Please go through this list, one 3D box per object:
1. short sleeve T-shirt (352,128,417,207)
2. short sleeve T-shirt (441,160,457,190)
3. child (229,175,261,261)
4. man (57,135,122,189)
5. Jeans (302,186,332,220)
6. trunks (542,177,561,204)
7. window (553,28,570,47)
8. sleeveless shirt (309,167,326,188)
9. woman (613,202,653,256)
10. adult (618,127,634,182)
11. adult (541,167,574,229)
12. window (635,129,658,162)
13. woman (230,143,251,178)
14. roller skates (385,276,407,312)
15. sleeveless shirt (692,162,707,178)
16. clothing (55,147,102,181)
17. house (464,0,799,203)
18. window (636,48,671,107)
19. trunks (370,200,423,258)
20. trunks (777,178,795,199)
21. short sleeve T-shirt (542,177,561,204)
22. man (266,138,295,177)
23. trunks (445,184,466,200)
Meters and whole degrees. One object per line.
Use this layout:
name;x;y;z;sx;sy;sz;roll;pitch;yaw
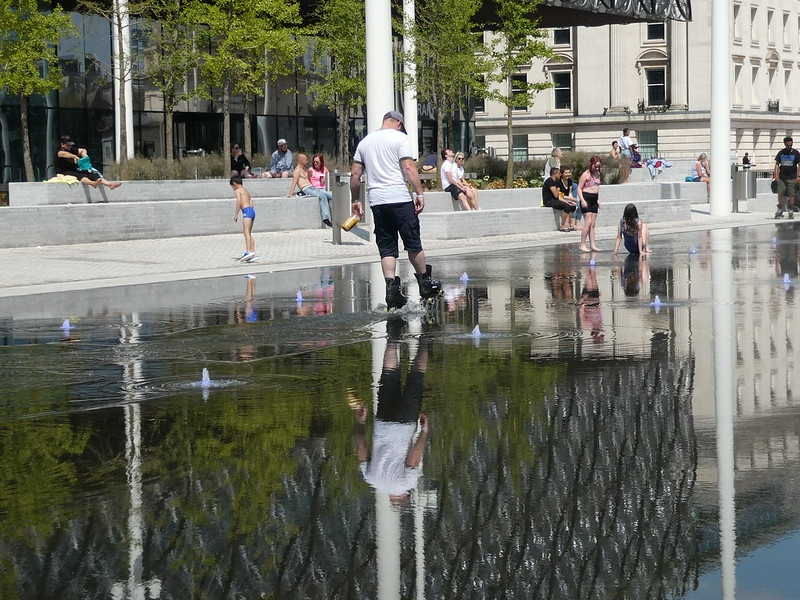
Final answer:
short sleeve T-shirt;-0.199;-1.456;13.904;0.704;0.886;0.445;-4;-11;6
short sleeve T-shirt;1.107;-2.766;27.224;0.301;0.629;0.587;-7;15;-27
child;-2.603;-1.411;20.895;0.416;1.399;2.007;-1;7;-7
man;-6.600;-2.934;26.197;1.595;0.933;0.760;7;8;-23
Jeans;-1.854;-2.235;28.396;0.367;0.787;0.687;-6;8;-41
trunks;3.465;-2.471;27.874;0.285;0.531;0.499;-8;15;-26
window;10.198;-16.393;77.066;1.359;1.448;0.200;4;11;17
sleeveless shirt;-1.916;-2.857;28.749;0.464;0.489;0.274;-3;2;-36
woman;4.053;-1.231;21.191;0.523;0.898;0.635;1;6;34
adult;8.783;-5.723;47.733;0.605;1.772;0.523;12;21;43
adult;3.732;-2.288;28.071;0.784;1.548;0.520;0;-6;44
window;14.865;-9.415;73.678;0.784;1.427;1.667;-4;8;-30
woman;-4.276;-3.720;33.099;0.468;0.864;2.708;-1;7;-8
roller skates;-0.033;-0.090;13.714;0.303;0.333;0.247;-6;8;-39
sleeveless shirt;10.241;-4.418;41.955;0.487;0.598;0.568;-4;17;-11
clothing;-6.802;-2.875;26.102;0.866;0.706;1.420;-2;7;-15
house;10.911;-9.595;58.163;14.322;10.857;7.962;-1;0;18
window;15.478;-13.467;74.574;0.817;3.372;2.137;-4;7;-34
trunks;-0.024;-0.688;14.040;0.542;0.439;0.713;-28;1;16
trunks;10.508;-3.046;33.333;0.555;0.713;0.384;5;11;25
short sleeve T-shirt;3.465;-2.471;27.874;0.285;0.531;0.499;-8;15;-26
man;-3.208;-3.811;33.331;0.638;1.102;0.810;4;5;23
trunks;1.225;-2.452;27.491;0.258;0.419;0.431;-42;25;-20
